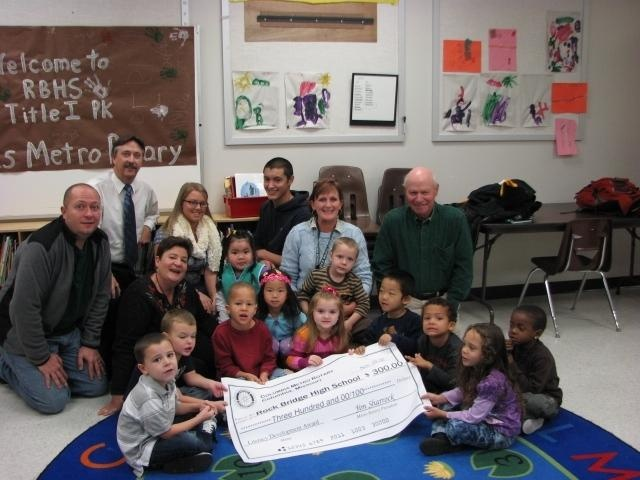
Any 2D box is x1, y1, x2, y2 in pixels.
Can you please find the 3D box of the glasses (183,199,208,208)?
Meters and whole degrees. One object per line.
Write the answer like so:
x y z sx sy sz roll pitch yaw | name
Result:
-0.902 -0.264 3.794 0.175 0.075 0.089 -6 15 -22 | glasses

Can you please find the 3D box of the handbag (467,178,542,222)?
1.562 -0.326 4.441 0.454 0.205 0.452 -7 18 -14 | handbag

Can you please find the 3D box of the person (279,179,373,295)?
0.035 0.002 3.632 0.706 0.842 0.620 0 11 -8 | person

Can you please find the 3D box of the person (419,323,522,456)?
0.816 0.768 2.970 0.682 0.773 0.547 0 7 2 | person

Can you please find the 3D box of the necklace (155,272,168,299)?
-0.966 0.271 3.180 0.033 0.120 0.124 -32 22 -24 | necklace

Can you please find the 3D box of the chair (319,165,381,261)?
0.293 -0.312 4.749 0.665 1.098 0.761 -1 11 -8 | chair

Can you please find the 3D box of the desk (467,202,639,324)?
1.924 0.419 4.873 1.548 0.771 1.073 -4 14 -7 | desk

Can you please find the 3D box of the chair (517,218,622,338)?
2.282 0.228 4.582 0.715 0.939 1.355 8 16 30 | chair

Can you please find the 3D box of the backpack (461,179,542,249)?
1.527 -0.307 4.424 0.609 0.246 0.601 -17 24 -26 | backpack

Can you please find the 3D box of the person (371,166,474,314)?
0.708 0.047 3.699 0.712 1.080 0.584 1 10 19 | person

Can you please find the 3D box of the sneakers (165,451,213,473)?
-0.637 1.112 2.610 0.253 0.087 0.106 -3 -5 -8 | sneakers

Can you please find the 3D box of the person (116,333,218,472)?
-0.766 0.790 2.895 0.624 0.791 0.621 -2 17 -7 | person

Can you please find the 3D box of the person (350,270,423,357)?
0.496 0.445 3.325 0.474 0.706 0.433 -3 -5 40 | person

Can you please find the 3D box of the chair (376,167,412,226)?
0.652 -0.431 4.772 0.387 0.648 0.454 -1 14 -4 | chair

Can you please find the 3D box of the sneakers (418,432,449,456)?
0.595 1.065 2.738 0.170 0.068 0.115 -6 17 -4 | sneakers
